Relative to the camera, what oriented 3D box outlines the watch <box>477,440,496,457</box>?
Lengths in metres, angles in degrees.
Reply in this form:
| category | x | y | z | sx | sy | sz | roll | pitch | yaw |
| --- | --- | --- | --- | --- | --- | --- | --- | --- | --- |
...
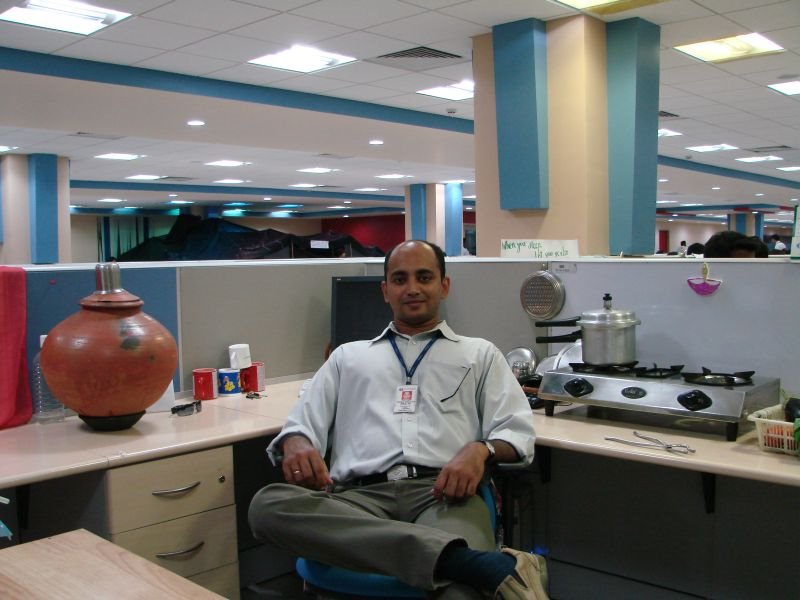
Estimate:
| category | x | y | z | sx | sy | sz | roll | pitch | yaw |
| --- | --- | --- | --- | --- | --- | --- | --- | --- | --- |
| watch | 0.274 | 0.453 | 1.834 | 0.042 | 0.040 | 0.012 | -3 | -18 | 28 |

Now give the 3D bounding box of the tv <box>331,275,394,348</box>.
| category | x | y | z | sx | sy | sz | roll | pitch | yaw |
| --- | --- | --- | --- | --- | --- | --- | --- | --- | --- |
| tv | -0.183 | 0.054 | 2.692 | 0.341 | 0.402 | 0.043 | 0 | -1 | -30 |

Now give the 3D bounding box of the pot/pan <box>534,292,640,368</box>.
| category | x | y | z | sx | sy | sz | roll | pitch | yaw |
| --- | --- | --- | --- | --- | --- | --- | --- | --- | --- |
| pot/pan | 0.762 | 0.124 | 2.413 | 0.404 | 0.261 | 0.271 | -4 | -4 | 40 |
